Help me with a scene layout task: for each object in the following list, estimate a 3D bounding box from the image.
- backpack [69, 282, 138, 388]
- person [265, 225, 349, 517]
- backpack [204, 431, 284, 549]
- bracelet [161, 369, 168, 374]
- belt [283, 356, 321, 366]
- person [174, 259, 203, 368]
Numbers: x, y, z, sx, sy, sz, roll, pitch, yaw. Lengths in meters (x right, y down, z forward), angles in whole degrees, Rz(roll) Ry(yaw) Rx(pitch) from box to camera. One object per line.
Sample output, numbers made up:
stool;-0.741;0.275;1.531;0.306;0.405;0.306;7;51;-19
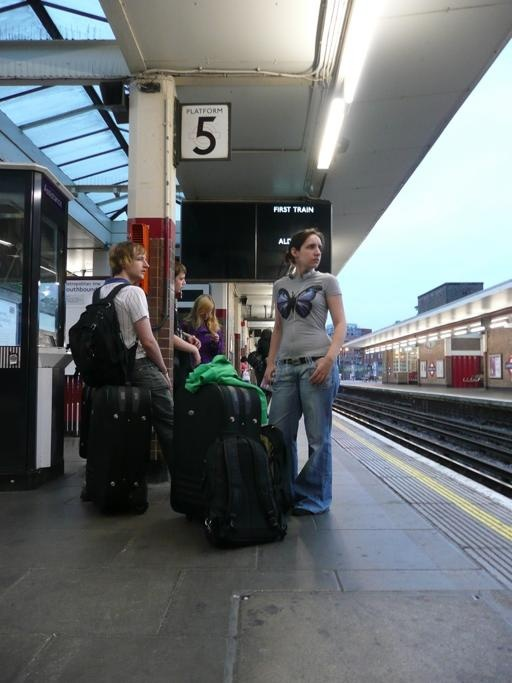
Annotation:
backpack;-0.911;-0.025;3.094;0.338;0.642;0.384;-2;-4;-34
person;0.290;0.171;3.114;0.424;1.723;0.390;1;-3;5
backpack;-0.047;0.713;2.583;0.347;0.530;0.297;0;-16;-11
bracelet;-0.583;0.192;3.300;0.045;0.038;0.068;9;-6;-13
belt;0.253;0.113;3.097;0.259;0.054;0.056;-1;-4;40
person;-0.576;-0.247;4.320;0.229;0.957;0.778;2;-3;-9
